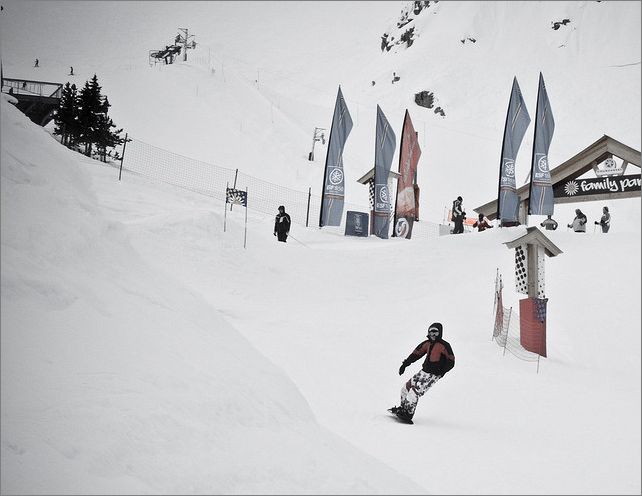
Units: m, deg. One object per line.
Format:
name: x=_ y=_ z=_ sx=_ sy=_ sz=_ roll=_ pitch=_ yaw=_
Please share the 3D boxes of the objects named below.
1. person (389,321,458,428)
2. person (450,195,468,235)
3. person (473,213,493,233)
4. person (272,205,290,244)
person: x=1.656 y=2.016 z=10.078 sx=0.892 sy=1.661 sz=0.394 roll=6 pitch=-3 yaw=-8
person: x=3.774 y=-0.955 z=16.994 sx=0.350 sy=1.305 sz=2.049 roll=5 pitch=-4 yaw=13
person: x=4.638 y=-0.755 z=17.730 sx=0.400 sy=0.581 sz=1.157 roll=5 pitch=-4 yaw=13
person: x=-0.991 y=-0.454 z=15.056 sx=0.340 sy=1.190 sz=0.260 roll=6 pitch=-16 yaw=-24
